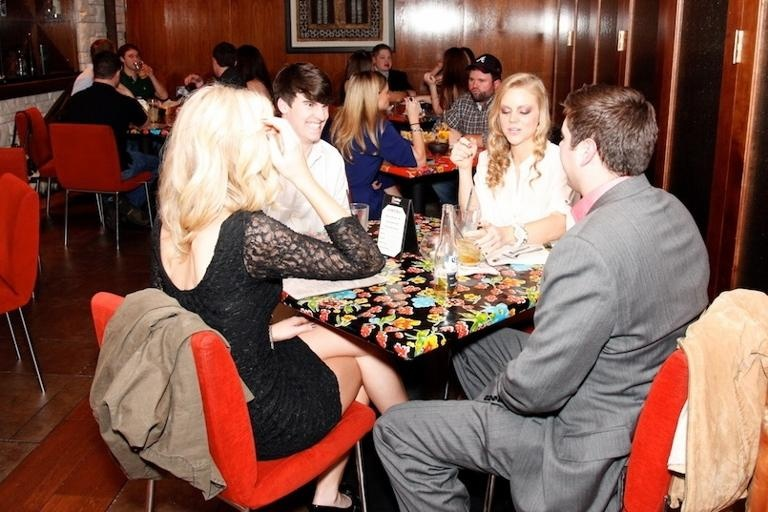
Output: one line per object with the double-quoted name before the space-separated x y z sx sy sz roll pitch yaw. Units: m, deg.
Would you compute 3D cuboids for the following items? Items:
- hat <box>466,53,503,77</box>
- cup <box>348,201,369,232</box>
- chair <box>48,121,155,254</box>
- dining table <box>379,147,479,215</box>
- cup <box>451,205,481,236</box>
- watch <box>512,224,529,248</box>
"hat" 0.898 -1.625 4.829 0.281 0.150 0.199 17 12 -31
"cup" -0.099 -0.178 2.448 0.111 0.130 0.115 1 23 0
"chair" -2.466 -0.811 4.774 0.663 0.655 0.408 -8 17 -22
"dining table" 0.374 -0.554 4.394 0.540 0.537 0.548 -9 28 -20
"cup" 0.338 -0.150 2.292 0.116 0.131 0.114 -2 11 0
"watch" 0.574 -0.087 2.348 0.060 0.088 0.083 -2 0 1
